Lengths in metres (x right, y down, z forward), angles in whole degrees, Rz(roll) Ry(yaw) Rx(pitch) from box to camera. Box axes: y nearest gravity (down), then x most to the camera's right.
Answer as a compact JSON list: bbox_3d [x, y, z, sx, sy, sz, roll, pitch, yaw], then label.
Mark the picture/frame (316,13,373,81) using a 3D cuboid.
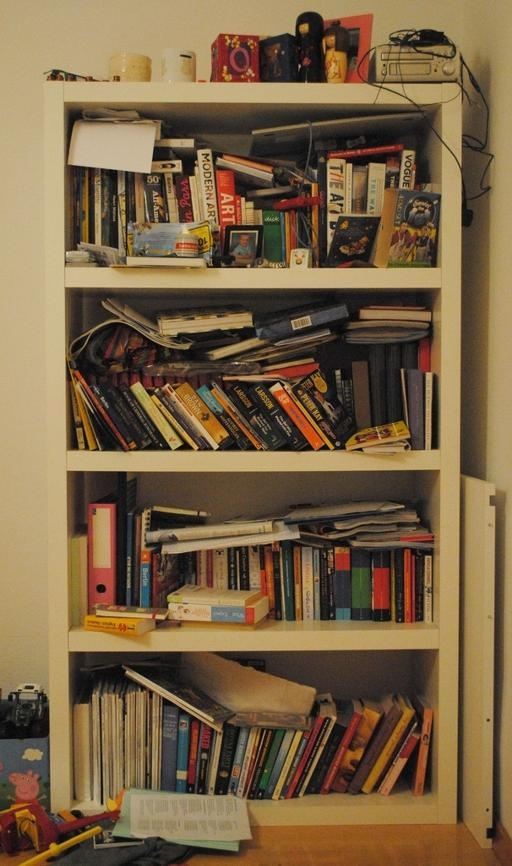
[{"bbox_3d":[0.219,-0.932,1.917,0.109,0.009,0.145,-4,-7,6],"label":"picture/frame"}]
